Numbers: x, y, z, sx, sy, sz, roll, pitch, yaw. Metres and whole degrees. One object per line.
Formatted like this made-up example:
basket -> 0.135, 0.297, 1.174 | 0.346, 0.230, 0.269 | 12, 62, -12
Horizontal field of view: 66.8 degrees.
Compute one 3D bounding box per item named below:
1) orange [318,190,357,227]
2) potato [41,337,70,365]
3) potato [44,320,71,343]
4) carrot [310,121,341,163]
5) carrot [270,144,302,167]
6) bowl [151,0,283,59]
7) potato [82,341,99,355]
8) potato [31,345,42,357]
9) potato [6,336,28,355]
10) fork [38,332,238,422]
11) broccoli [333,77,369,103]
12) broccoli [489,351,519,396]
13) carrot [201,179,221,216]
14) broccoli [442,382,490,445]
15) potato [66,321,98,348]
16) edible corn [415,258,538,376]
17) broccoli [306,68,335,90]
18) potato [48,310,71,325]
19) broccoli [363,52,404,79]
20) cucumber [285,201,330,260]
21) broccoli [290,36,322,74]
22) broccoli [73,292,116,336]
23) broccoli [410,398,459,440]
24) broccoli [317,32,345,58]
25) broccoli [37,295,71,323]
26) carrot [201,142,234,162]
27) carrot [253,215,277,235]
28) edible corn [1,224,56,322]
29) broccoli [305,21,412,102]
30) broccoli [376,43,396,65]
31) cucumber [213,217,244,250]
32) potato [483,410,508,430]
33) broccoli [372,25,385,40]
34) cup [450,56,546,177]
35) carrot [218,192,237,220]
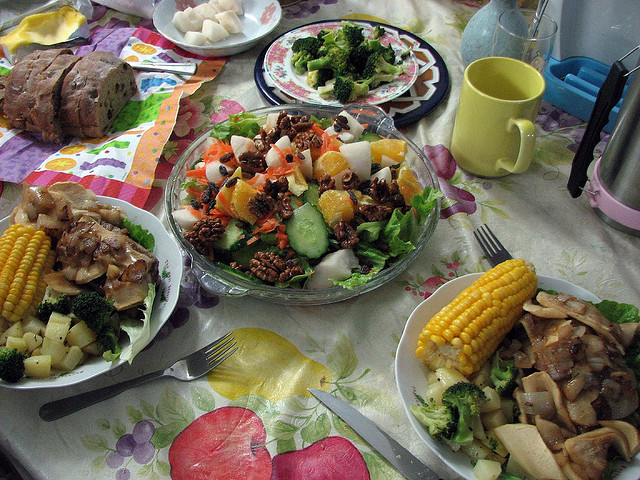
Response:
orange -> 0.057, -0.080, 1.532 | 0.099, 0.075, 0.110 | -24, 69, -7
potato -> -0.721, 0.298, 1.310 | 0.062, 0.031, 0.060 | 16, 67, 12
potato -> -0.721, 0.248, 1.328 | 0.049, 0.014, 0.052 | 8, 54, -1
carrot -> 0.019, -0.319, 1.614 | 0.093, 0.031, 0.133 | 4, 56, -3
carrot -> -0.102, -0.263, 1.569 | 0.055, 0.022, 0.100 | -30, 60, -27
bowl -> -0.481, -0.992, 2.337 | 0.394, 0.101, 0.415 | 2, 51, -3
potato -> -0.633, 0.299, 1.347 | 0.032, 0.016, 0.036 | -4, 95, -17
potato -> -0.771, 0.302, 1.326 | 0.024, 0.025, 0.020 | -3, 79, 21
potato -> -0.817, 0.279, 1.310 | 0.050, 0.039, 0.038 | 18, 44, -22
fork -> -0.495, 0.398, 1.351 | 0.538, 0.071, 0.088 | -22, 64, -6
broccoli -> 0.116, -0.593, 1.935 | 0.113, 0.099, 0.065 | 5, 55, -6
broccoli -> 0.475, 0.349, 1.266 | 0.059, 0.034, 0.080 | 15, 36, -40
carrot -> -0.348, -0.130, 1.562 | 0.057, 0.026, 0.107 | 6, 69, -26
broccoli -> 0.341, 0.444, 1.248 | 0.120, 0.176, 0.129 | 1, 26, 34
potato -> -0.656, 0.258, 1.333 | 0.056, 0.031, 0.043 | -35, 99, -32
edible corn -> 0.445, 0.195, 1.318 | 0.434, 0.093, 0.164 | -42, 68, -14
broccoli -> -0.003, -0.682, 2.053 | 0.076, 0.031, 0.103 | 14, 52, 44
potato -> -0.723, 0.216, 1.353 | 0.038, 0.018, 0.040 | 16, 32, -9
broccoli -> 0.263, -0.715, 2.002 | 0.147, 0.090, 0.108 | 11, 41, 1
cucumber -> -0.038, -0.022, 1.493 | 0.142, 0.031, 0.229 | -3, 57, -19
broccoli -> -0.056, -0.787, 2.092 | 0.126, 0.120, 0.154 | 20, 81, 8
broccoli -> -0.629, 0.190, 1.355 | 0.107, 0.052, 0.095 | 28, 69, 17
broccoli -> 0.281, 0.431, 1.183 | 0.092, 0.041, 0.075 | 22, 77, 38
broccoli -> 0.050, -0.836, 2.101 | 0.100, 0.054, 0.115 | 22, 79, -8
broccoli -> -0.753, 0.192, 1.375 | 0.073, 0.035, 0.057 | -29, 102, -14
carrot -> -0.354, -0.297, 1.653 | 0.062, 0.022, 0.085 | 5, 51, 46
carrot -> -0.163, -0.048, 1.479 | 0.057, 0.019, 0.047 | -40, 104, 13
edible corn -> -0.860, 0.076, 1.414 | 0.156, 0.069, 0.267 | 23, 53, -30
broccoli -> 0.156, -0.741, 2.046 | 0.407, 0.141, 0.375 | -12, 47, -11
broccoli -> 0.291, -0.781, 2.051 | 0.063, 0.034, 0.087 | -1, 61, -10
cucumber -> -0.277, -0.017, 1.506 | 0.071, 0.016, 0.110 | 20, 68, 13
potato -> 0.438, 0.448, 1.219 | 0.045, 0.045, 0.047 | -6, 79, -46
broccoli -> 0.261, -0.923, 2.172 | 0.046, 0.028, 0.074 | -1, 63, -5
cup -> 0.558, -0.468, 1.766 | 0.265, 0.380, 0.458 | 0, 47, 6
carrot -> -0.283, -0.101, 1.508 | 0.014, 0.057, 0.062 | -34, 89, -5
